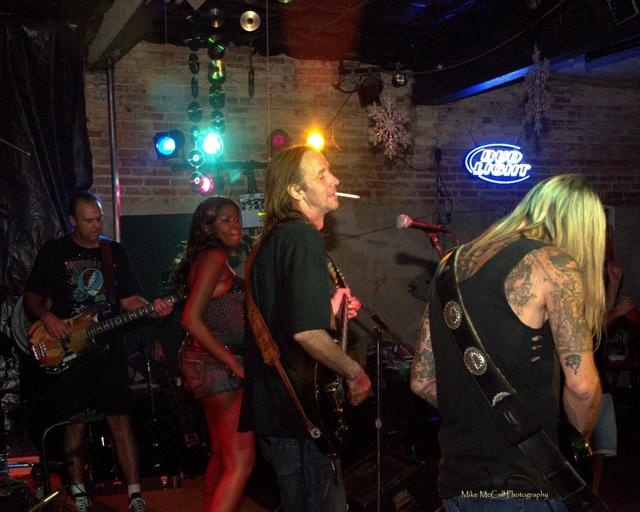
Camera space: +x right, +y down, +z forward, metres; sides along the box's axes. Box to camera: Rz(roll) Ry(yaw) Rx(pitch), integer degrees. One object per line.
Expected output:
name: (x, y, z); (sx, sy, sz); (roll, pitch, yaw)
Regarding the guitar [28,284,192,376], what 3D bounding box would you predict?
guitar: (-1.632, 0.537, 4.529); (1.599, 0.489, 0.201); (-20, -6, 16)
